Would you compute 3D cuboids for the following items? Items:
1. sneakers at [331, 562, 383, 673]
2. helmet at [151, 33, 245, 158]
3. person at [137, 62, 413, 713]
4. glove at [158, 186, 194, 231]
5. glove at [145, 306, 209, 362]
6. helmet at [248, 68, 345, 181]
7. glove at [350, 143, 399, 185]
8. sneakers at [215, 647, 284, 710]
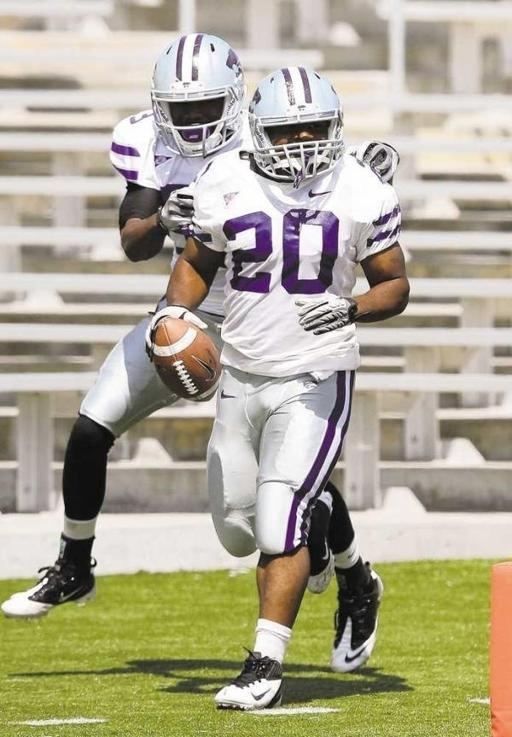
[{"bbox_3d":[0.284,0.666,4.046,0.107,0.127,0.310,-6,47,33],"label":"sneakers"},{"bbox_3d":[-0.111,-0.759,4.177,0.269,0.281,0.344,2,41,8],"label":"helmet"},{"bbox_3d":[0.067,0.024,3.579,0.652,1.526,0.515,-2,3,-4],"label":"person"},{"bbox_3d":[-0.207,-0.404,3.804,0.088,0.108,0.046,26,30,22],"label":"glove"},{"bbox_3d":[-0.203,-0.084,3.643,0.122,0.140,0.056,2,21,-30],"label":"glove"},{"bbox_3d":[0.098,-0.592,3.601,0.225,0.224,0.280,-4,36,-1],"label":"helmet"},{"bbox_3d":[0.303,-0.505,3.744,0.092,0.052,0.123,32,1,17],"label":"glove"},{"bbox_3d":[0.008,0.719,3.442,0.106,0.140,0.235,0,3,34],"label":"sneakers"}]
